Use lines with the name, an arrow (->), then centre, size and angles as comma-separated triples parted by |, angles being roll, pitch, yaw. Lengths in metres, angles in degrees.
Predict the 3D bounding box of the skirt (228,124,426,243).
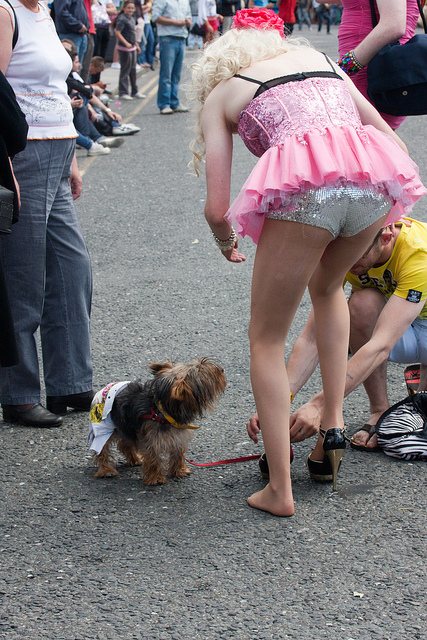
skirt -> 0.331, -0.439, 1.896 | 0.572, 0.414, 0.238 | -8, 61, -5

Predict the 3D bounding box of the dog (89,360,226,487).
dog -> -0.264, 0.381, 2.523 | 0.637, 0.444, 0.320 | 1, 1, 33

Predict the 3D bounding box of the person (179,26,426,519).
person -> 0.369, -0.105, 2.243 | 0.736, 1.630, 0.933 | -8, 34, -4

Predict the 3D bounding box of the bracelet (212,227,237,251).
bracelet -> 0.048, -0.276, 2.217 | 0.064, 0.047, 0.074 | -5, 21, 1
